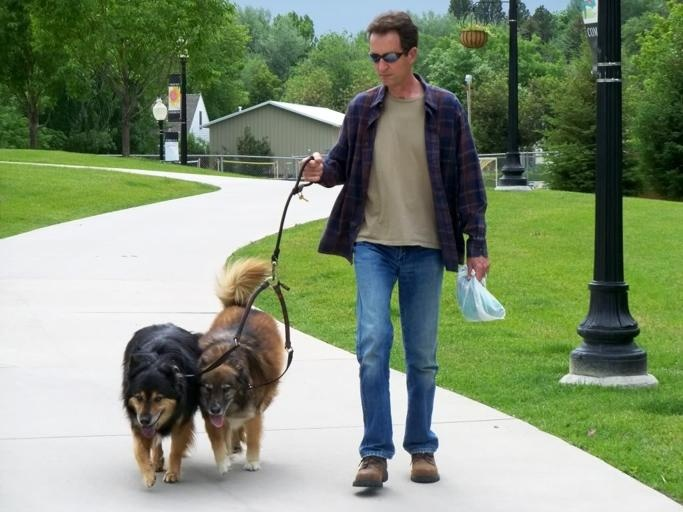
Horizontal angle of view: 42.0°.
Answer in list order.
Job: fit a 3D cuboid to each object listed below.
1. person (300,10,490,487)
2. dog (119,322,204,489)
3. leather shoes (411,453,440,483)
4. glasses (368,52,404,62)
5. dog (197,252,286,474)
[{"bbox_3d":[0.444,-0.093,6.565,1.248,3.372,0.926,0,10,-2],"label":"person"},{"bbox_3d":[-1.295,1.080,6.901,0.505,1.100,1.762,1,6,3],"label":"dog"},{"bbox_3d":[0.608,1.536,6.493,0.206,0.186,0.145,2,11,5],"label":"leather shoes"},{"bbox_3d":[0.310,-1.455,6.481,0.251,0.083,0.099,8,13,32],"label":"glasses"},{"bbox_3d":[-0.758,0.875,6.838,0.635,1.474,1.075,0,10,-4],"label":"dog"}]
